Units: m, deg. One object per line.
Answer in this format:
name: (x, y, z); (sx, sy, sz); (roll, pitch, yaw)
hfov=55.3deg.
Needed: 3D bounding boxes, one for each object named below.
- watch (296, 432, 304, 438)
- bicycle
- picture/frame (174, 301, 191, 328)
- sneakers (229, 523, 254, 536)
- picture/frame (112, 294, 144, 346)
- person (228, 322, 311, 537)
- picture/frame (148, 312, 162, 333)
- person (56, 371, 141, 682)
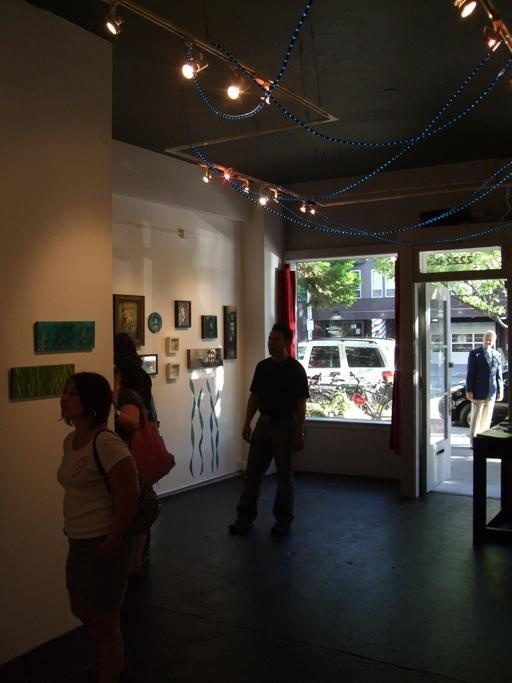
watch: (0.338, 0.709, 3.713); (0.048, 0.040, 0.055); (0, -7, 18)
bicycle: (1.055, 0.674, 6.322); (1.465, 0.782, 0.392); (1, -1, 33)
picture/frame: (-0.754, -0.267, 4.946); (0.027, 0.270, 0.219); (2, -4, 25)
sneakers: (-0.134, 1.452, 3.773); (0.069, 0.082, 0.195); (-6, -16, 25)
picture/frame: (-1.058, -0.182, 3.998); (0.030, 0.525, 0.391); (0, 0, 25)
person: (0.108, 0.692, 3.889); (0.613, 1.617, 0.405); (0, -4, 6)
picture/frame: (-0.966, -0.168, 4.624); (0.018, 0.199, 0.161); (0, 2, 23)
person: (-0.417, 0.516, 1.279); (0.199, 0.860, 0.296); (2, -5, -24)
